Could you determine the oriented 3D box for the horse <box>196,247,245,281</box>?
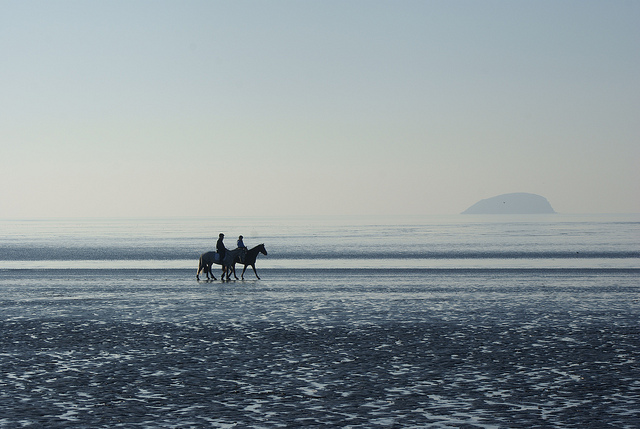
[{"bbox_3d":[-4.634,2.318,53.734,2.786,1.340,0.698,-2,-2,-36],"label":"horse"}]

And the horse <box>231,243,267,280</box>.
[{"bbox_3d":[-3.434,2.310,54.524,2.844,1.536,0.686,-10,-18,42],"label":"horse"}]
